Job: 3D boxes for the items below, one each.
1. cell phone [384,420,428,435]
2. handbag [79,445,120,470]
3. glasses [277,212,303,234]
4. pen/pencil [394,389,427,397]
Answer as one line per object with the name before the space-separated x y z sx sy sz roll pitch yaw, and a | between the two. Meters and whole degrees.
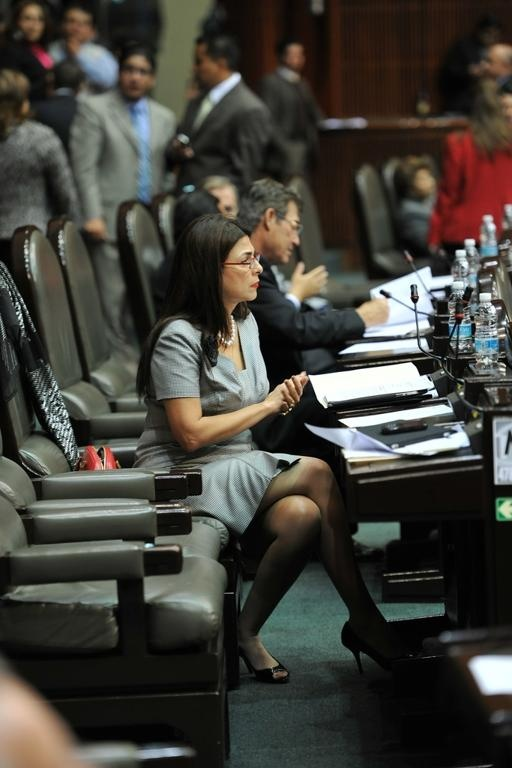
cell phone | 0.362 0.106 1.589 0.085 0.021 0.046 -5 6 1
handbag | -0.455 0.217 1.852 0.064 0.070 0.173 -1 -15 -6
glasses | 0.140 -0.634 2.580 0.038 0.093 0.072 8 3 -12
pen/pencil | 0.437 0.028 1.832 0.052 0.013 0.011 -6 52 -12
